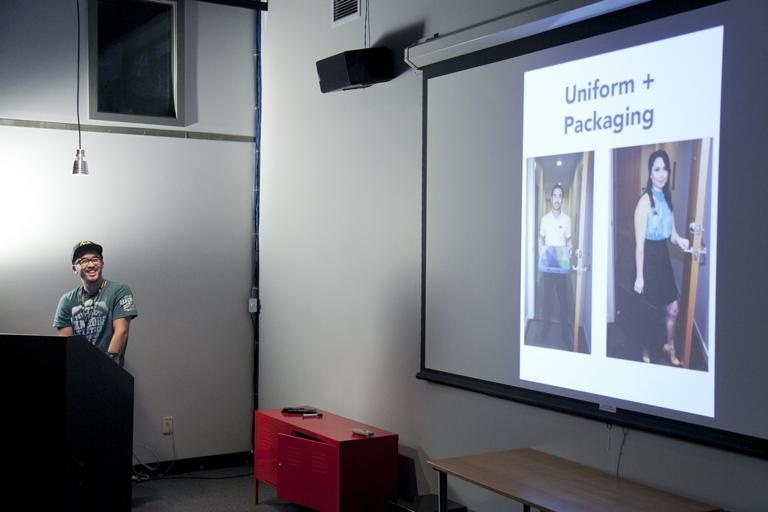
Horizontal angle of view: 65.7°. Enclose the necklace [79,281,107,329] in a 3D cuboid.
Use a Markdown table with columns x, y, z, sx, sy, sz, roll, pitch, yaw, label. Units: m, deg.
| x | y | z | sx | sy | sz | roll | pitch | yaw | label |
| --- | --- | --- | --- | --- | --- | --- | --- | --- | --- |
| -2.502 | 0.443 | 5.049 | 0.159 | 0.295 | 0.059 | -1 | -6 | 8 | necklace |
